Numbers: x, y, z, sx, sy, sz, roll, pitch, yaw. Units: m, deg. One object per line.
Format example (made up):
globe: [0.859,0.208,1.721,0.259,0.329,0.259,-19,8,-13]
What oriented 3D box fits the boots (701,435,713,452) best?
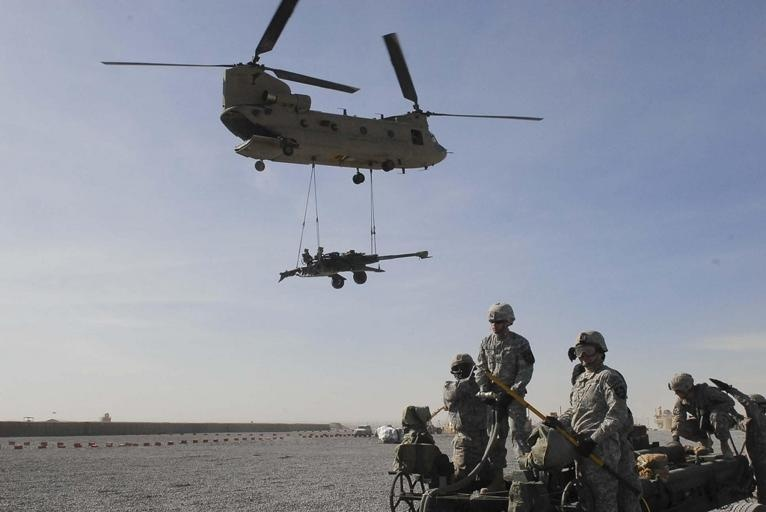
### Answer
boots: [6.536,3.819,17.665,0.206,0.174,0.379,-5,-34,38]

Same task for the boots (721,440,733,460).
boots: [6.664,3.773,16.969,0.205,0.411,0.430,-4,-21,20]

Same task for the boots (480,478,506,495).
boots: [1.932,4.035,15.206,0.426,0.320,0.786,-1,-20,12]

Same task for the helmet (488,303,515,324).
helmet: [2.158,1.026,15.669,0.394,0.326,0.477,3,-20,-1]

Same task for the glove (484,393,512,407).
glove: [1.950,2.459,14.837,0.350,0.129,0.263,5,-2,0]

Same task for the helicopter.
helicopter: [-2.106,-4.022,26.355,9.345,2.642,7.999,1,1,-34]

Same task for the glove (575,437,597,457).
glove: [3.253,3.072,13.967,0.305,0.293,0.234,-1,-20,12]

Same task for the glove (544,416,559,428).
glove: [2.720,2.689,14.036,0.237,0.072,0.175,-11,-55,27]

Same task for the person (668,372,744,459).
person: [6.381,3.236,17.455,1.291,1.626,0.982,-6,-21,24]
